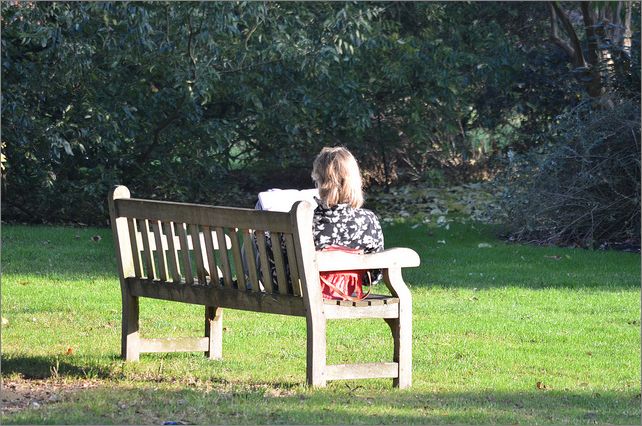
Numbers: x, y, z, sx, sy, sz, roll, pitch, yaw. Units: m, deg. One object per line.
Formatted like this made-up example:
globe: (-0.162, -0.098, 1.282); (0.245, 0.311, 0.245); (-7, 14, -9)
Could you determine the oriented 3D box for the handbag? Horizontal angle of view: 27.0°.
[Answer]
handbag: (0.405, 1.127, 24.668); (0.979, 0.914, 0.873); (4, -6, -3)
